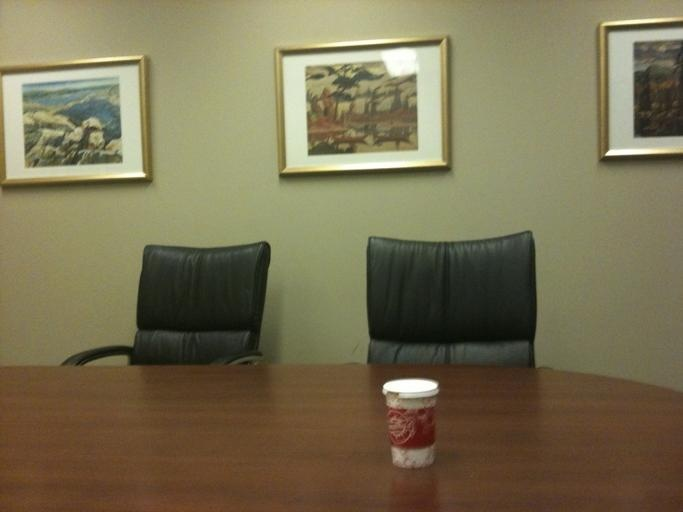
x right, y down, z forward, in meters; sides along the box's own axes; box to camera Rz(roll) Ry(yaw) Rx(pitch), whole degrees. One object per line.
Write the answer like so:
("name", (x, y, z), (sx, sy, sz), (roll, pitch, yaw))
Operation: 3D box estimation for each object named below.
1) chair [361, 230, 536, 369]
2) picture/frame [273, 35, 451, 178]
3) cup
("chair", (0.515, 0.233, 3.184), (0.597, 0.851, 0.700), (-1, -6, 7))
("picture/frame", (0.165, -0.872, 3.565), (0.804, 0.600, 0.032), (0, 1, 3))
("cup", (0.209, 0.489, 1.852), (0.153, 0.243, 0.130), (0, 6, 7))
